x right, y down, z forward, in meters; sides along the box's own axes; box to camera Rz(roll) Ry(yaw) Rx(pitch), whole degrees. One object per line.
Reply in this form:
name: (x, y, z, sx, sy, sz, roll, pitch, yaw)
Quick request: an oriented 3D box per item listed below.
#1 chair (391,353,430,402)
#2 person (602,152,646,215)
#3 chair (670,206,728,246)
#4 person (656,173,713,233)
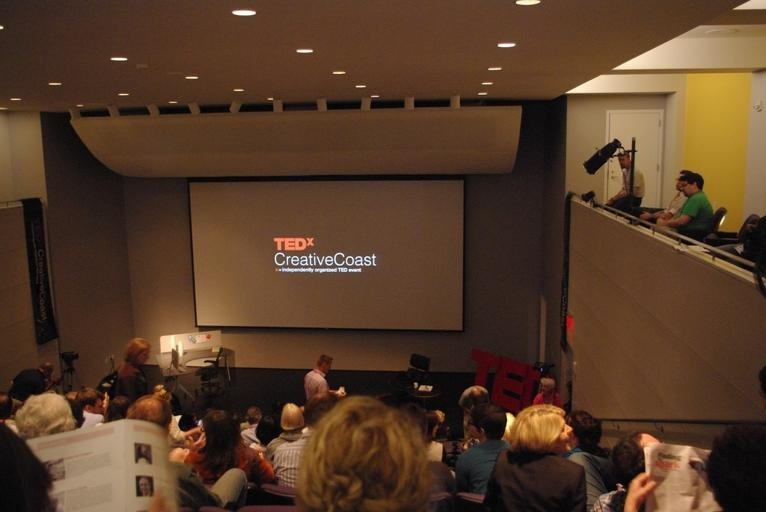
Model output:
chair: (0.510, 2.107, 10.076, 0.484, 0.682, 0.601, 6, 3, 35)
person: (3.630, -1.063, 8.545, 0.544, 0.960, 0.447, -1, 0, -12)
chair: (3.829, -0.361, 6.744, 0.363, 0.371, 1.072, -1, 4, 29)
person: (3.762, -0.609, 7.180, 0.651, 0.830, 0.594, -5, 2, 4)
